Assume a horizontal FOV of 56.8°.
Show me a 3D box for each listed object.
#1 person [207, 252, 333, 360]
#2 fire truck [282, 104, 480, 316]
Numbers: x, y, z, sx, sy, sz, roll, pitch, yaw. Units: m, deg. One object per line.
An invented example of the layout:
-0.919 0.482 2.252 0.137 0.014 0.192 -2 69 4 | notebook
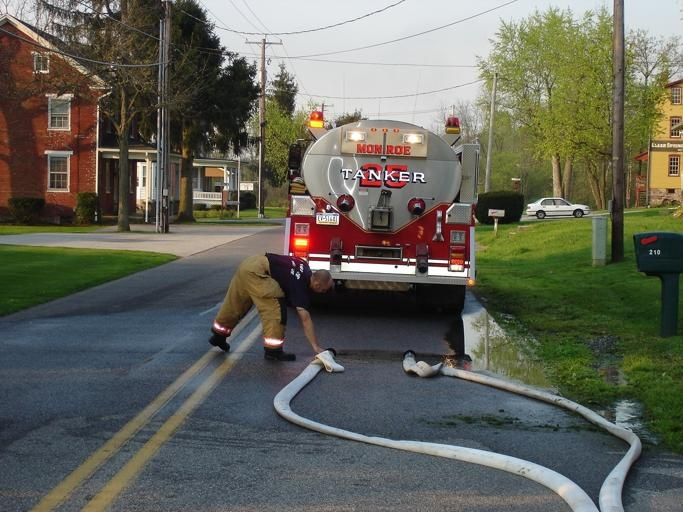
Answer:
-1.000 0.675 8.775 1.539 1.466 1.001 2 2 0 | person
0.931 -0.219 14.253 3.770 3.652 6.117 1 -11 5 | fire truck
